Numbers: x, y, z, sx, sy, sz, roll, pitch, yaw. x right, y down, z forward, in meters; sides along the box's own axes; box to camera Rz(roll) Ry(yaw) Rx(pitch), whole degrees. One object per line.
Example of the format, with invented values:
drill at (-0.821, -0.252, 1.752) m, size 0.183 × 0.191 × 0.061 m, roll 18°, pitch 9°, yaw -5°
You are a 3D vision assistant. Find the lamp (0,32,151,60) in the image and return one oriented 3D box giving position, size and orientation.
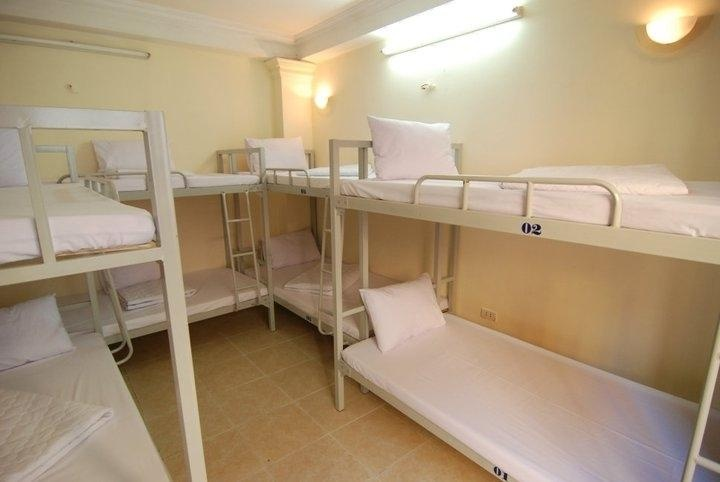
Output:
lamp at (-2.737, -1.896, 4.764) m, size 1.283 × 0.173 × 0.080 m, roll -9°, pitch 17°, yaw -28°

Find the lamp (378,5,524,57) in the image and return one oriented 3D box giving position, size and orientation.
lamp at (0.774, -1.919, 4.439) m, size 0.123 × 0.273 × 1.458 m, roll -16°, pitch 20°, yaw -43°
